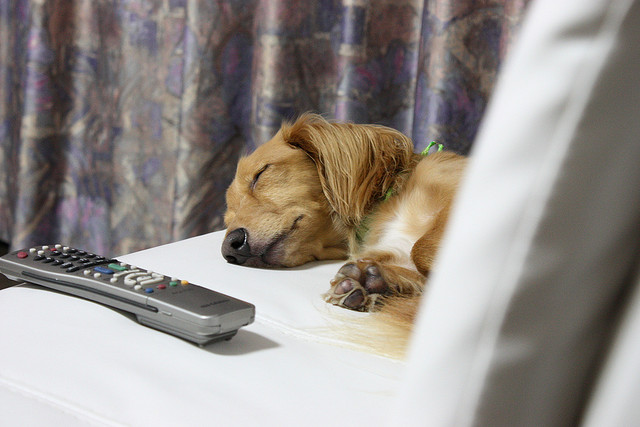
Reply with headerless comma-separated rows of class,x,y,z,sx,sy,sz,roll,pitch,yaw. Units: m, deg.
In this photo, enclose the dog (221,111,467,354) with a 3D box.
dog,0.129,0.009,1.246,0.702,0.237,0.333,-10,47,-34
